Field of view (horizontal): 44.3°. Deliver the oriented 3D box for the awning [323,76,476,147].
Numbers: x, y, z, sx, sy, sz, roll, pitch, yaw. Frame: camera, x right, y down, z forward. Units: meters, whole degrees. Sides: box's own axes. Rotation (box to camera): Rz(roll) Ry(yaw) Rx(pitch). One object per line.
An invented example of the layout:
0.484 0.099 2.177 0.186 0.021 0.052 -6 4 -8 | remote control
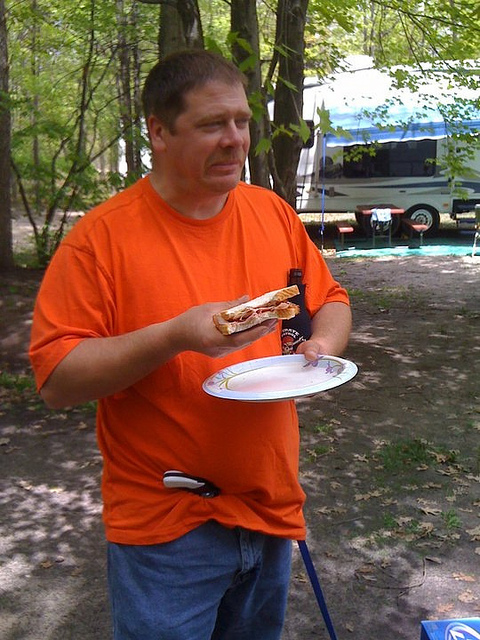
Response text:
4.844 -7.089 19.688 4.099 2.615 2.683 -1 7 8 | awning
